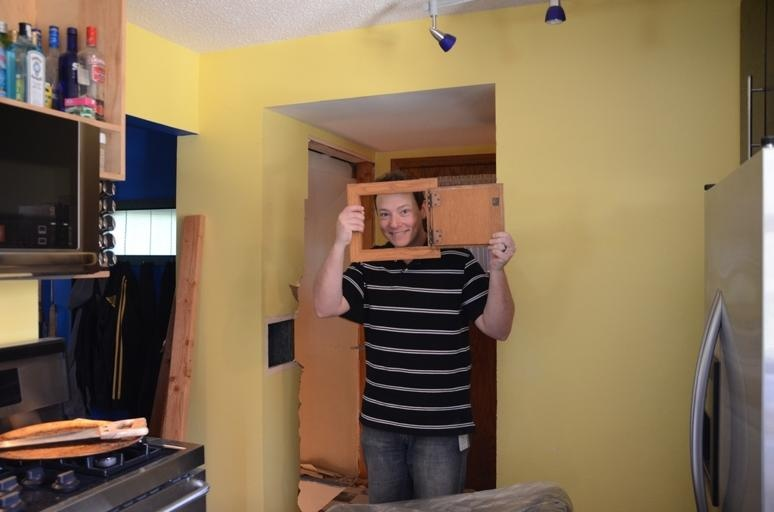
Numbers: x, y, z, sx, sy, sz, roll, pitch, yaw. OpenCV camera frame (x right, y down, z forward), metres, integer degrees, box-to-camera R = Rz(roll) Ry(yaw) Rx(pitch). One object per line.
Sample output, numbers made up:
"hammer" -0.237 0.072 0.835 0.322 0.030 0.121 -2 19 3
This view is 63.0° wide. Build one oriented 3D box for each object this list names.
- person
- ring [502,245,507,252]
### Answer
"person" 0.104 0.439 2.835 0.898 1.323 0.268 1 -2 11
"ring" 0.496 -0.031 2.663 0.017 0.029 0.014 1 -2 -2
